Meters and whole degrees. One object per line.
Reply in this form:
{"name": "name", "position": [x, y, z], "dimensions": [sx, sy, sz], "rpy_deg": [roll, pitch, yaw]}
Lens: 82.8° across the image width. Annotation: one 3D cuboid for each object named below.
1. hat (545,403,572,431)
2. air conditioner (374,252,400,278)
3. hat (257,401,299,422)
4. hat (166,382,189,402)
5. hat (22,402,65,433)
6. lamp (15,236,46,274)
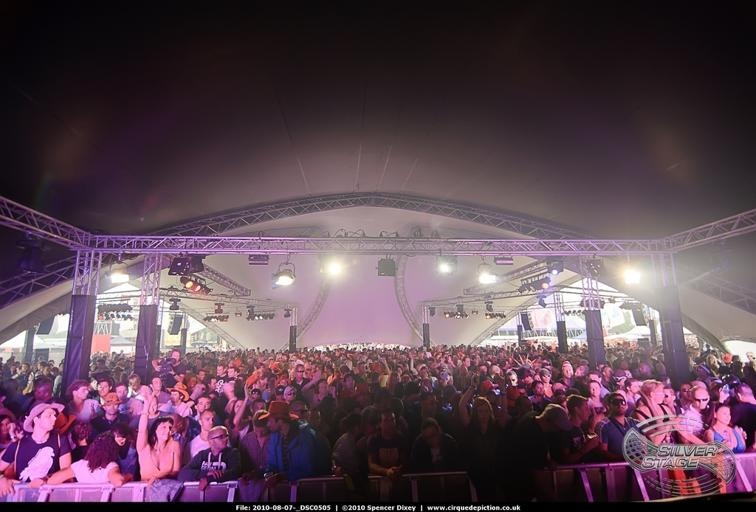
{"name": "hat", "position": [3.725, 3.359, 8.865], "dimensions": [0.418, 0.314, 0.557], "rpy_deg": [0, 7, -13]}
{"name": "air conditioner", "position": [0.442, 0.493, 18.471], "dimensions": [1.291, 1.319, 1.295], "rpy_deg": [1, -4, -22]}
{"name": "hat", "position": [-2.066, 3.127, 8.619], "dimensions": [0.584, 0.233, 0.500], "rpy_deg": [9, -19, -17]}
{"name": "hat", "position": [-4.918, 3.325, 10.393], "dimensions": [0.451, 0.204, 0.521], "rpy_deg": [2, -39, 12]}
{"name": "hat", "position": [-6.848, 3.222, 8.529], "dimensions": [0.529, 0.546, 0.651], "rpy_deg": [13, -23, -35]}
{"name": "lamp", "position": [-11.708, -0.074, 14.118], "dimensions": [0.753, 1.150, 0.279], "rpy_deg": [15, -23, -38]}
